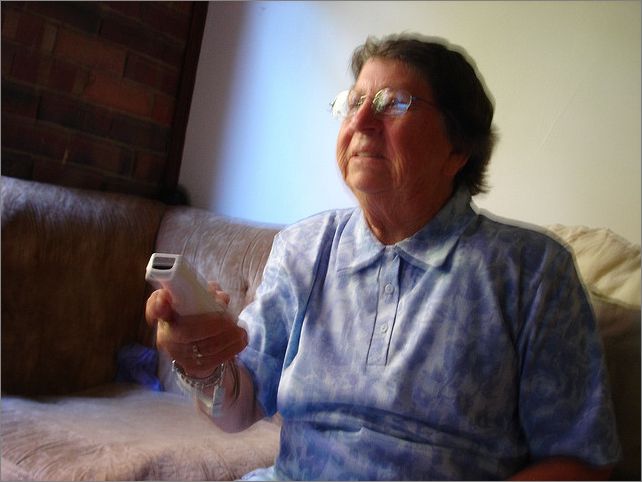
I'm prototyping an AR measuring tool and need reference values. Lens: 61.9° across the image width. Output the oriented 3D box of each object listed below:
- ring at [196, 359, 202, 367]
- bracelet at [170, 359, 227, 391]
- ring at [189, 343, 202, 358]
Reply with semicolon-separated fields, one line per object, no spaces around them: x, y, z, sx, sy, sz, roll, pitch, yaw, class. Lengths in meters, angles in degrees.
-0.258;0.260;1.138;0.008;0.013;0.013;-8;-6;-2;ring
-0.266;0.310;1.184;0.072;0.035;0.088;0;43;-6;bracelet
-0.261;0.227;1.119;0.025;0.030;0.007;3;8;-11;ring
